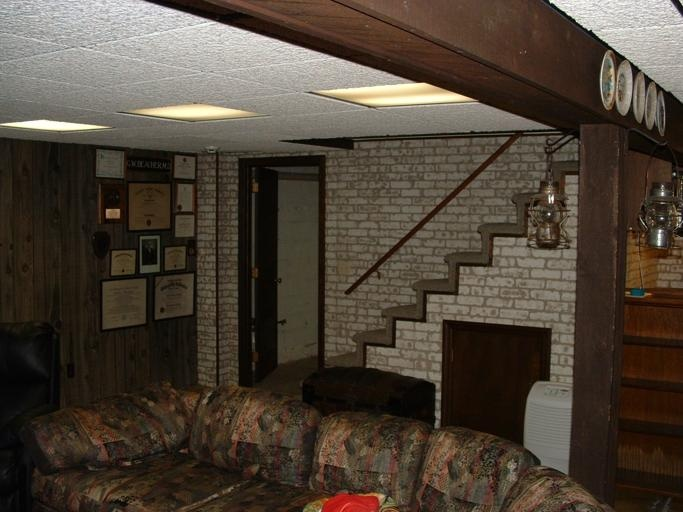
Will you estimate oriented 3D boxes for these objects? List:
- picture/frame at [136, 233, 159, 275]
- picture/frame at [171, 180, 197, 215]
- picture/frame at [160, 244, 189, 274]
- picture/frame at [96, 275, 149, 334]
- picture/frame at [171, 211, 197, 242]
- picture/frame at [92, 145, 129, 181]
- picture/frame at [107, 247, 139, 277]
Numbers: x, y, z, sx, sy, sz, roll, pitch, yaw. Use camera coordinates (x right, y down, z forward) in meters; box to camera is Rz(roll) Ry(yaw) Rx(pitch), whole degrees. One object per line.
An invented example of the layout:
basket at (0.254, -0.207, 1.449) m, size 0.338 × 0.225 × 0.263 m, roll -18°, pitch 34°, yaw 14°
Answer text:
picture/frame at (-2.079, -0.020, 5.879) m, size 0.017 × 0.411 × 0.252 m, roll 3°, pitch 2°, yaw 34°
picture/frame at (-1.816, -0.679, 6.198) m, size 0.057 × 0.374 × 0.411 m, roll -3°, pitch 2°, yaw 31°
picture/frame at (-1.905, 0.024, 6.140) m, size 0.034 × 0.280 × 0.345 m, roll -2°, pitch 0°, yaw 32°
picture/frame at (-2.293, 0.489, 5.624) m, size 0.053 × 0.613 × 0.640 m, roll 2°, pitch 2°, yaw 43°
picture/frame at (-1.822, -0.350, 6.222) m, size 0.048 × 0.320 × 0.354 m, roll -3°, pitch 2°, yaw 34°
picture/frame at (-2.348, -0.948, 5.482) m, size 0.052 × 0.319 × 0.380 m, roll -5°, pitch -2°, yaw 39°
picture/frame at (-2.280, 0.055, 5.628) m, size 0.033 × 0.283 × 0.313 m, roll 0°, pitch 3°, yaw 39°
